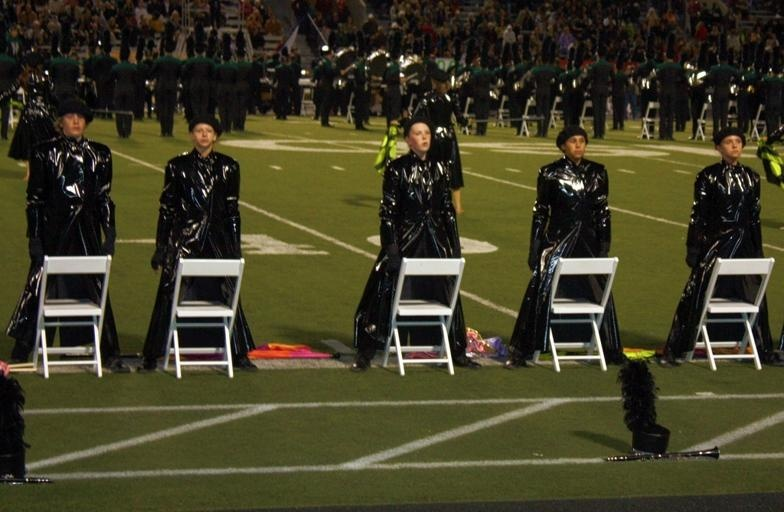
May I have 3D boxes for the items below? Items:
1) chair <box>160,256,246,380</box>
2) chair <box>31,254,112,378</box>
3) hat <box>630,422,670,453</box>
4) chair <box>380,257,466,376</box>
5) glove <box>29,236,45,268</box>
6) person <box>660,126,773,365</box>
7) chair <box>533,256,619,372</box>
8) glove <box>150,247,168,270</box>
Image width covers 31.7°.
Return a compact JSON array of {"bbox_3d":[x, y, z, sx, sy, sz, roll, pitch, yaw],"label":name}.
[{"bbox_3d":[-2.046,0.596,14.753,0.812,1.289,0.821,1,10,-8],"label":"chair"},{"bbox_3d":[-3.412,0.568,14.596,0.762,1.292,0.834,0,10,-14],"label":"chair"},{"bbox_3d":[2.431,1.694,12.943,0.329,0.167,0.300,0,0,-21],"label":"hat"},{"bbox_3d":[0.310,0.598,15.058,0.801,1.302,0.876,2,10,-3],"label":"chair"},{"bbox_3d":[-3.757,-0.052,14.509,0.197,0.299,0.132,-7,3,-45],"label":"glove"},{"bbox_3d":[3.666,-0.116,15.351,1.245,2.619,0.595,-1,11,-17],"label":"person"},{"bbox_3d":[2.076,0.587,15.285,0.686,1.292,0.792,3,10,6],"label":"chair"},{"bbox_3d":[-2.473,0.023,14.699,0.189,0.211,0.060,1,-16,10],"label":"glove"}]
